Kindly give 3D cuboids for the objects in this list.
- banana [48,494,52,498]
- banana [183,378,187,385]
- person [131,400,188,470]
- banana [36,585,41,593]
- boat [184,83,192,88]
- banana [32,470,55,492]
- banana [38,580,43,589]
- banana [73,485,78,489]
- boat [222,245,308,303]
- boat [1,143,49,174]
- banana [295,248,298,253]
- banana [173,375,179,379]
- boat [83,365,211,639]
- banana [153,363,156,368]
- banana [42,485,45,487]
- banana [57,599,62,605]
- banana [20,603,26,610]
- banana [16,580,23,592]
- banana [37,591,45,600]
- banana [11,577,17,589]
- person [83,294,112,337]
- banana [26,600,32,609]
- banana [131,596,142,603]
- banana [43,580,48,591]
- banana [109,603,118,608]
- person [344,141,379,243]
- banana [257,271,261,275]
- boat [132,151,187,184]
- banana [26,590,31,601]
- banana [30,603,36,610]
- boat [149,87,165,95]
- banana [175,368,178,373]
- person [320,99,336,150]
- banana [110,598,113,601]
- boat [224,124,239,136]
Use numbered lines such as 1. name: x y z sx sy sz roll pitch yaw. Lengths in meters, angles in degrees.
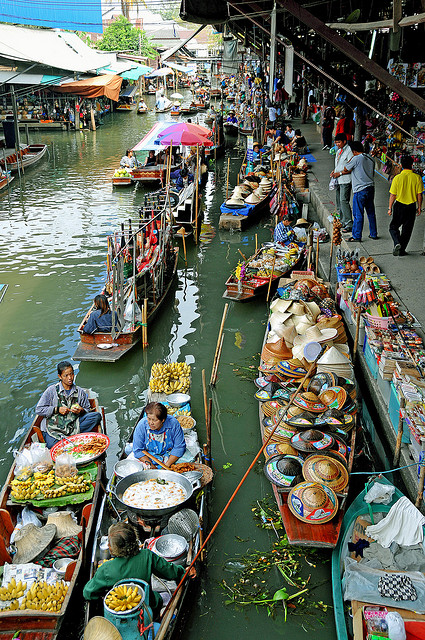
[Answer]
1. banana: -1.438 1.557 4.030 0.032 0.034 0.011 11 -14 -36
2. banana: -0.386 0.869 6.392 0.020 0.024 0.090 5 28 5
3. person: -0.516 1.067 4.464 0.597 0.731 0.610 -1 55 0
4. banana: -1.158 1.790 3.025 0.013 0.013 0.050 10 49 -27
5. boat: -3.127 -30.314 58.922 0.897 0.477 1.920 1 24 3
6. banana: -1.545 1.478 4.182 0.134 0.055 0.136 25 12 36
7. banana: -1.153 1.783 3.068 0.015 0.017 0.052 27 30 -39
8. banana: -1.245 1.520 4.132 0.032 0.033 0.011 -7 -7 -6
9. boat: 1.165 -0.935 9.534 0.816 0.387 2.150 23 55 31
10. boat: -8.801 -7.807 21.558 0.793 0.620 3.505 4 39 0
11. banana: 1.881 -1.560 10.234 0.057 0.112 0.108 0 2 7
12. banana: -0.534 0.832 6.588 0.042 0.055 0.014 -9 3 -15
13. boat: -0.404 1.414 3.628 0.523 0.422 2.380 3 28 3
14. banana: -0.881 0.696 6.880 0.015 0.070 0.068 -13 10 -4
15. banana: -1.523 1.499 4.102 0.016 0.016 0.004 -2 -13 -5
16. banana: -0.991 1.835 2.955 0.020 0.010 0.027 3 20 -3
17. banana: -1.209 1.846 2.920 0.023 0.042 0.023 36 5 -30
18. banana: -1.300 1.803 3.077 0.019 0.019 0.065 21 52 -5
19. banana: -1.123 1.804 2.975 0.042 0.015 0.031 40 24 24
20. banana: -1.351 1.795 3.098 0.024 0.023 0.079 28 17 -35
21. person: -1.872 -0.047 7.517 0.380 0.279 0.725 -1 40 -2
22. banana: -1.186 1.834 2.931 0.018 0.037 0.022 1 -4 -10
23. banana: -0.380 1.392 2.262 0.020 0.008 0.027 -7 24 32
24. banana: -1.125 1.796 3.071 0.017 0.019 0.056 15 28 -32
25. banana: -0.488 1.399 2.223 0.018 0.009 0.024 11 -12 15
26. person: 2.778 -2.324 8.414 0.600 1.791 0.640 -20 30 -40
27. banana: 0.975 -0.974 9.506 0.072 0.075 0.023 -17 -6 -19
28. boat: -2.101 -6.264 18.620 1.157 0.542 2.237 2 36 19
29. banana: -1.196 1.803 2.977 0.016 0.015 0.053 -27 38 27
30. banana: -1.146 1.837 2.912 0.024 0.013 0.025 -10 60 -46
31. boat: -6.076 -24.916 49.439 2.077 1.017 2.942 -3 27 -2
32. banana: -0.532 0.735 6.635 0.039 0.053 0.021 4 21 0
33. person: 4.372 -7.230 17.210 0.486 1.486 1.275 5 24 12
34. banana: -0.499 1.375 2.238 0.010 0.007 0.013 -8 25 -19
35. boat: 1.147 -12.242 29.305 0.324 0.650 1.604 -7 25 -16
